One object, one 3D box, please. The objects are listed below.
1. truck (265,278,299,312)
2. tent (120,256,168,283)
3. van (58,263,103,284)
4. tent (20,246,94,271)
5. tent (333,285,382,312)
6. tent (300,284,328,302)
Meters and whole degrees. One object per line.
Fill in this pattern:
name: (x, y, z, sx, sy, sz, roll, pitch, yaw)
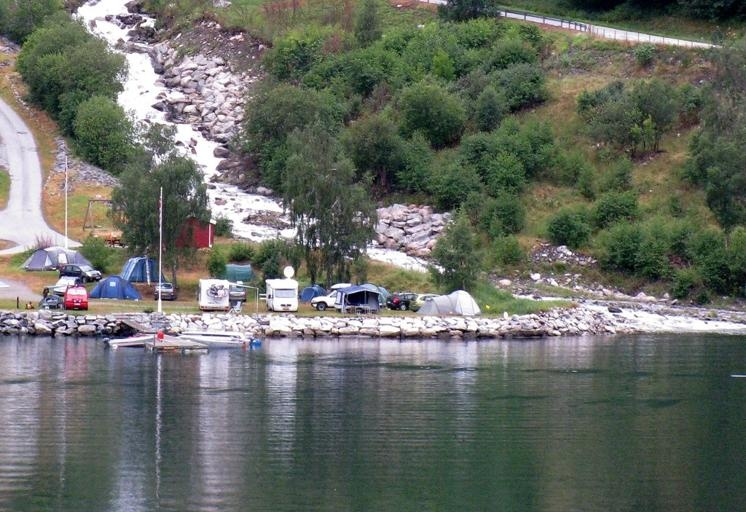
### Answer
truck: (-13.019, 5.390, 271.637, 4.346, 4.332, 4.307, -1, 19, -6)
tent: (-33.963, 2.026, 276.241, 4.921, 2.928, 4.023, 2, 5, 24)
van: (-42.325, 2.567, 275.494, 4.812, 2.410, 2.803, -1, 7, -1)
tent: (-46.778, 0.359, 278.911, 8.750, 2.920, 1.929, 0, 18, -3)
tent: (-2.408, 6.265, 273.300, 4.416, 2.738, 4.474, 1, 1, -8)
tent: (-9.028, 5.291, 276.123, 2.989, 1.144, 2.285, 2, 15, 26)
